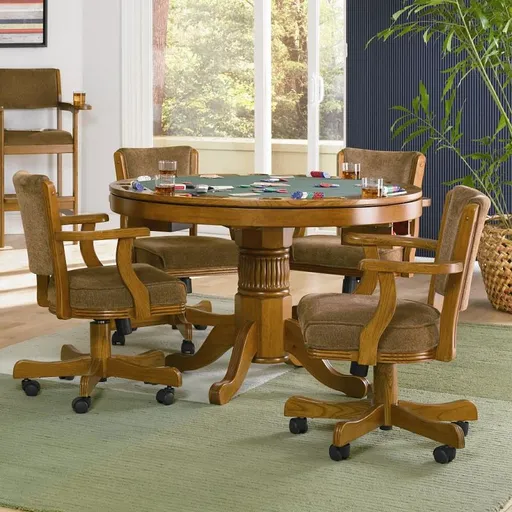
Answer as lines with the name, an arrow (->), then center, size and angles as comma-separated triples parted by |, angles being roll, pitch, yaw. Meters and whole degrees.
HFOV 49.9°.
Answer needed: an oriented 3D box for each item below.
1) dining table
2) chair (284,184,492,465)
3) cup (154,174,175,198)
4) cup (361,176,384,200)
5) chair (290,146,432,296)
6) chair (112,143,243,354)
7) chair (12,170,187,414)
dining table -> 0.014, 0.136, 2.340 | 1.357, 0.598, 1.135 | -2, -3, 7
chair -> 0.363, 0.248, 1.731 | 0.624, 0.578, 0.513 | -5, -14, 20
cup -> -0.334, -0.258, 2.026 | 0.102, 0.082, 0.092 | 0, 1, -15
cup -> 0.420, -0.253, 2.013 | 0.100, 0.067, 0.074 | 0, 5, -8
chair -> 0.615, -0.186, 3.124 | 0.696, 0.795, 0.631 | -29, 29, -27
chair -> -0.418, -0.065, 2.896 | 0.766, 0.928, 0.679 | 30, 32, 31
chair -> -0.611, 0.127, 2.188 | 0.688, 0.687, 0.585 | 9, -2, -27
